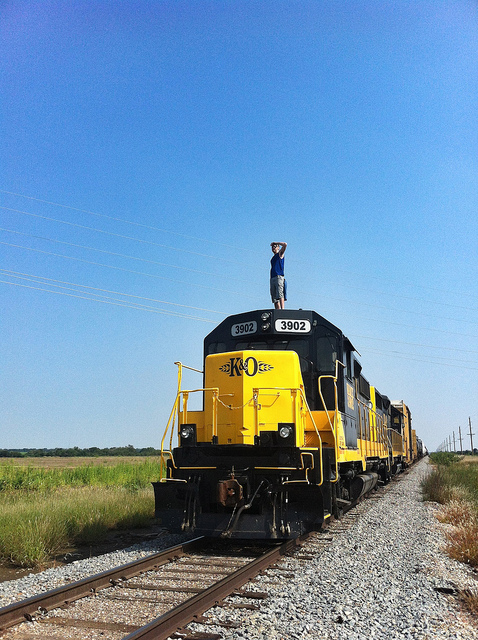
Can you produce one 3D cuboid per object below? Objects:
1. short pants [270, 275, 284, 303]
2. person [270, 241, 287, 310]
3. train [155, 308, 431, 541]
[{"bbox_3d":[0.797,-0.664,11.503,0.303,0.679,0.406,-5,-14,20],"label":"short pants"},{"bbox_3d":[0.863,-1.022,11.622,0.313,1.678,0.552,-1,-13,4],"label":"person"},{"bbox_3d":[1.009,2.033,10.208,2.495,4.132,5.685,-6,-15,23],"label":"train"}]
